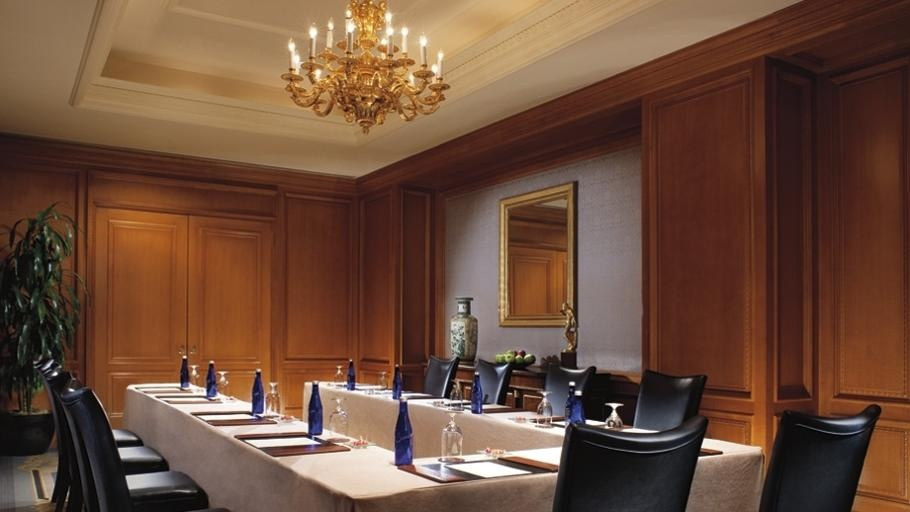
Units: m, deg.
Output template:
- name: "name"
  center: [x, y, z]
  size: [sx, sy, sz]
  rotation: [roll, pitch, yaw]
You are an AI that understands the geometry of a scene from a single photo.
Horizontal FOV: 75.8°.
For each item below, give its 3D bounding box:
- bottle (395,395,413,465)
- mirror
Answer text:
- name: "bottle"
  center: [-0.326, 1.133, 3.768]
  size: [0.121, 0.429, 0.207]
  rotation: [3, -7, -6]
- name: "mirror"
  center: [1.173, -0.005, 7.702]
  size: [0.178, 2.302, 2.034]
  rotation: [4, -6, -34]
